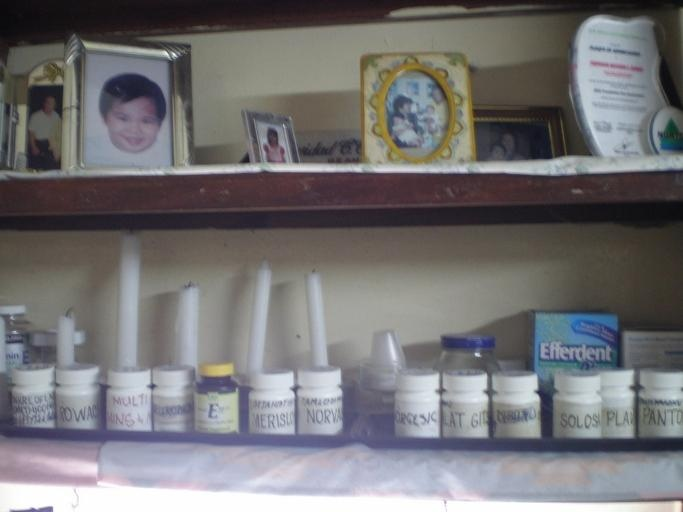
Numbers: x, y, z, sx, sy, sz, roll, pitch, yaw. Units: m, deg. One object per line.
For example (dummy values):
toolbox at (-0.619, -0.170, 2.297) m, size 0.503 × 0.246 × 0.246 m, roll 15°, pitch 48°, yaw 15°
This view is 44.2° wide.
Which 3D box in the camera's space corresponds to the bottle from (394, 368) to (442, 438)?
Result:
bottle at (0.111, 0.216, 1.225) m, size 0.064 × 0.104 × 0.065 m, roll 0°, pitch 5°, yaw 0°

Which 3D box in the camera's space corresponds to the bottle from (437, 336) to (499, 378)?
bottle at (0.194, 0.151, 1.291) m, size 0.066 × 0.067 × 0.069 m, roll 0°, pitch -1°, yaw 12°

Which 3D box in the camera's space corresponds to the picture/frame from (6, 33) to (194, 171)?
picture/frame at (-0.372, -0.213, 1.394) m, size 0.292 × 0.313 × 0.221 m, roll -2°, pitch 0°, yaw -10°

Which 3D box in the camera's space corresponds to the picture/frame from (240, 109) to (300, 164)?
picture/frame at (-0.107, -0.183, 1.307) m, size 0.013 × 0.100 × 0.099 m, roll -16°, pitch -7°, yaw 38°

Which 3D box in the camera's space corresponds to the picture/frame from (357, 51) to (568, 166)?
picture/frame at (0.147, -0.190, 1.204) m, size 0.273 × 0.200 × 0.068 m, roll -1°, pitch -4°, yaw -5°

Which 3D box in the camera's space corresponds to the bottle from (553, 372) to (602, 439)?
bottle at (0.339, 0.213, 1.214) m, size 0.065 × 0.109 × 0.067 m, roll -4°, pitch 16°, yaw 1°

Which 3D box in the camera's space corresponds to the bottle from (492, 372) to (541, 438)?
bottle at (0.251, 0.216, 1.218) m, size 0.065 × 0.108 × 0.065 m, roll -4°, pitch 9°, yaw 1°

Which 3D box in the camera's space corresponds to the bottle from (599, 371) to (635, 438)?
bottle at (0.395, 0.210, 1.202) m, size 0.050 × 0.092 × 0.011 m, roll -1°, pitch -5°, yaw -7°
